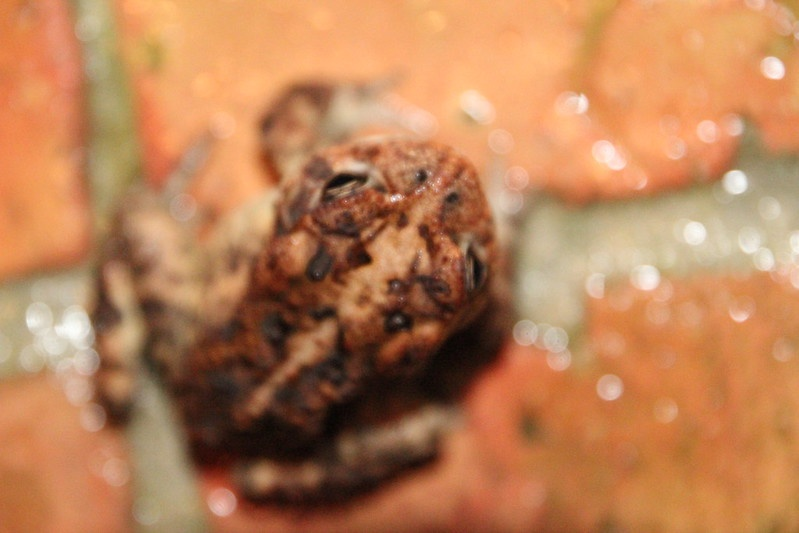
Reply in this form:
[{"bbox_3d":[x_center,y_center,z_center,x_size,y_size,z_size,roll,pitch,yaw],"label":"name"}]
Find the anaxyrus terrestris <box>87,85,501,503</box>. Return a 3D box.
[{"bbox_3d":[-0.186,0.094,1.336,0.721,0.262,0.608,-16,84,-4],"label":"anaxyrus terrestris"}]
